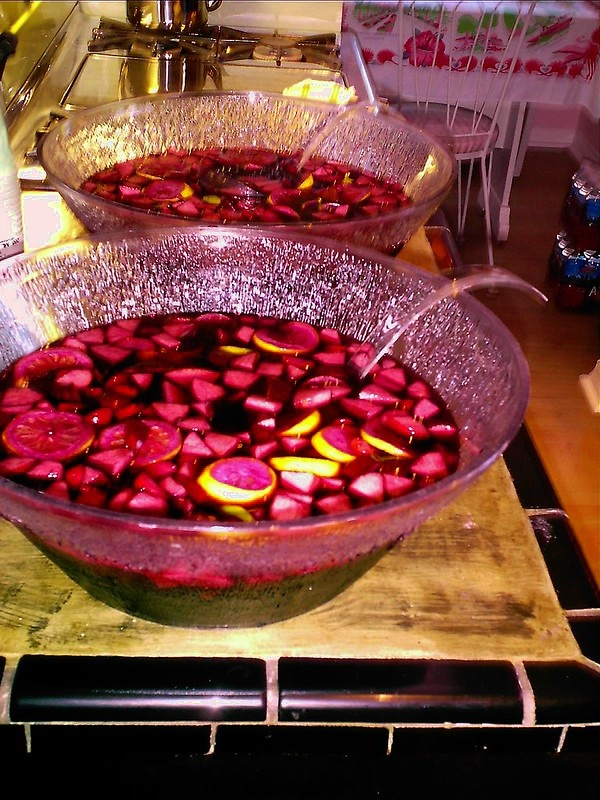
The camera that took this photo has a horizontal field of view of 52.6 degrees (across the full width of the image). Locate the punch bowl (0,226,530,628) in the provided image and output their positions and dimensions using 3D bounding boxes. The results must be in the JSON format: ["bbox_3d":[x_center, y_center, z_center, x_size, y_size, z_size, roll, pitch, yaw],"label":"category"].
[{"bbox_3d":[-0.028,0.005,0.531,0.459,0.147,0.413,8,37,-6],"label":"punch bowl"}]

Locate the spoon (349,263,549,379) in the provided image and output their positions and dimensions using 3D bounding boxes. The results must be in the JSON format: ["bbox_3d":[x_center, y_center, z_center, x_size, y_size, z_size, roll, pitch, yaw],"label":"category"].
[{"bbox_3d":[0.166,-0.087,0.644,0.222,0.103,0.031,-16,27,-16],"label":"spoon"}]
